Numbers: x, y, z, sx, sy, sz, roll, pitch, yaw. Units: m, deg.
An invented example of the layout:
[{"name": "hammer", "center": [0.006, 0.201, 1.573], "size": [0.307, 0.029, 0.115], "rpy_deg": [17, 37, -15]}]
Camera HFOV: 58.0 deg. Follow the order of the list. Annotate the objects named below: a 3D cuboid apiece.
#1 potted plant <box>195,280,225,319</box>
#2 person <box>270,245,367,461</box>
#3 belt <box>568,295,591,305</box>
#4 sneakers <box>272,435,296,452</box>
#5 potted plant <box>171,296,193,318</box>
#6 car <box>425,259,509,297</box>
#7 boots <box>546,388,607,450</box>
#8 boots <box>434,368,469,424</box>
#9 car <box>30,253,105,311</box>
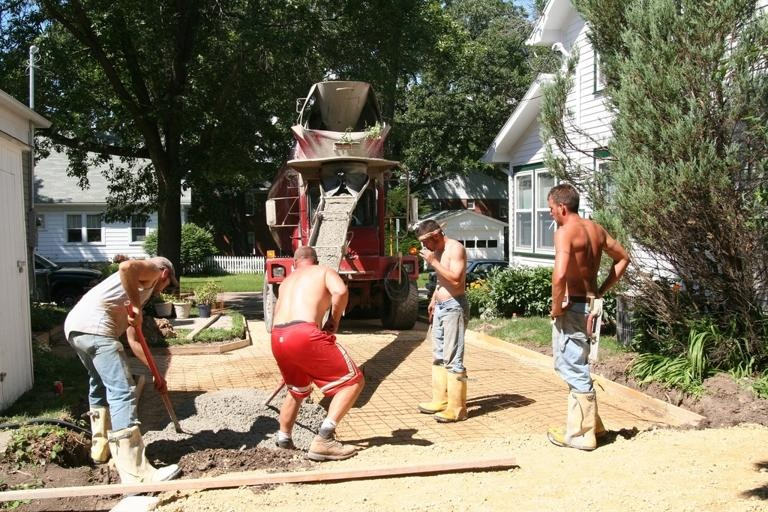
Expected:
[{"name": "potted plant", "center": [-4.493, 1.107, 17.352], "size": [0.480, 0.756, 0.586], "rpy_deg": [-1, 4, 11]}, {"name": "person", "center": [-0.810, 1.140, 8.248], "size": [1.040, 2.466, 0.598], "rpy_deg": [0, 2, -5]}, {"name": "belt", "center": [2.354, 0.530, 8.327], "size": [0.365, 0.107, 0.118], "rpy_deg": [-1, 2, -33]}, {"name": "sneakers", "center": [-1.187, 2.212, 8.211], "size": [0.210, 0.224, 0.138], "rpy_deg": [-1, -1, 15]}, {"name": "potted plant", "center": [-4.962, 1.190, 16.881], "size": [0.584, 0.475, 0.604], "rpy_deg": [-1, -8, -5]}, {"name": "car", "center": [2.600, 0.558, 21.822], "size": [2.261, 1.133, 1.335], "rpy_deg": [0, -2, -18]}, {"name": "boots", "center": [2.280, 1.966, 8.437], "size": [0.400, 0.612, 0.811], "rpy_deg": [2, 0, -17]}, {"name": "boots", "center": [0.933, 1.874, 9.095], "size": [0.620, 0.826, 0.412], "rpy_deg": [0, -1, -7]}, {"name": "car", "center": [-8.740, 0.752, 20.454], "size": [3.225, 1.548, 1.685], "rpy_deg": [-2, 5, -10]}]
